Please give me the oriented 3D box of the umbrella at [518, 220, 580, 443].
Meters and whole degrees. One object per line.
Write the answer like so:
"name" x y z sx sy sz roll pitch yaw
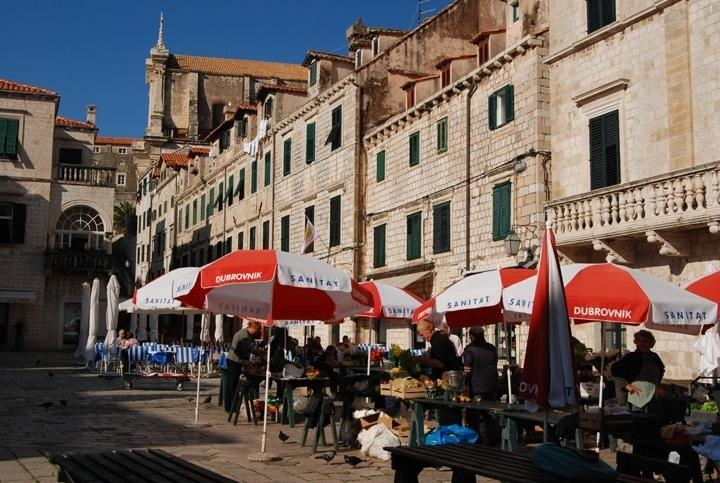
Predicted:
"umbrella" 3.942 1.593 23.151 1.140 3.760 0.435 0 -12 9

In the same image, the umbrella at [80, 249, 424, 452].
"umbrella" -2.213 2.759 27.326 4.450 4.934 3.727 7 -13 -25

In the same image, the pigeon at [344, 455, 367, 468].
"pigeon" -0.130 5.079 25.548 0.457 0.280 0.188 -1 -17 -46

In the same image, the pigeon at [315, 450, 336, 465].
"pigeon" -0.871 5.065 25.842 0.503 0.350 0.205 11 -2 10

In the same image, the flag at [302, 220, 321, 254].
"flag" -1.975 -0.184 44.864 1.115 0.306 2.623 -18 -19 -12

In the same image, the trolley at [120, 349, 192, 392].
"trolley" -7.323 4.536 38.054 1.526 1.153 2.255 2 -5 -25

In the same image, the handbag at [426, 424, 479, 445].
"handbag" 2.106 4.440 25.445 1.220 0.430 0.613 1 -12 4

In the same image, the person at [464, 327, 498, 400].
"person" 2.867 2.921 26.504 0.804 1.814 0.675 1 -12 3
